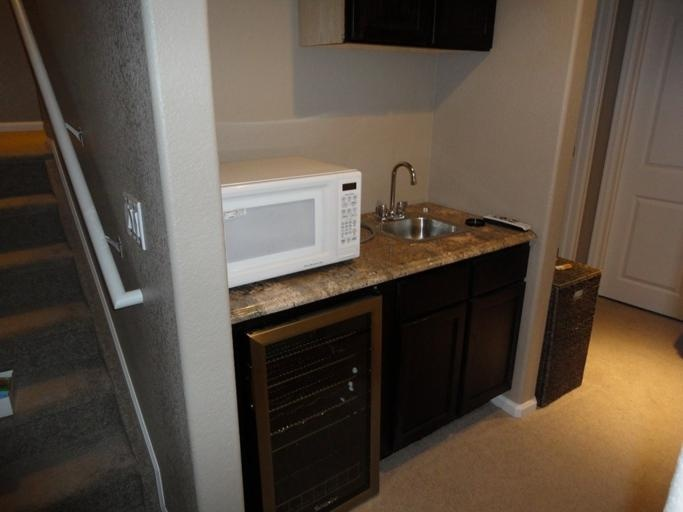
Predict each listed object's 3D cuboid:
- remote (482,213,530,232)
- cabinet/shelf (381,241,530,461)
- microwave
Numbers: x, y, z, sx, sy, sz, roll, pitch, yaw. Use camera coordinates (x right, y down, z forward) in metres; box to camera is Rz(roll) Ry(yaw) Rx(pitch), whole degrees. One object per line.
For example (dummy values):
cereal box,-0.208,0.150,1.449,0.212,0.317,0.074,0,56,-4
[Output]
remote,0.936,-0.191,2.930,0.095,0.031,0.177,-17,28,-34
cabinet/shelf,0.487,0.415,2.983,1.108,1.113,0.627,-11,21,-33
microwave,-0.308,-0.196,2.392,0.671,0.442,0.478,-12,27,-26
